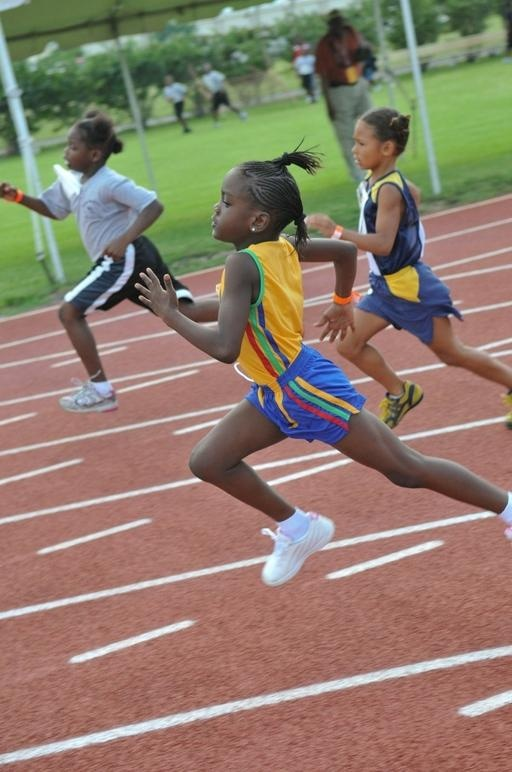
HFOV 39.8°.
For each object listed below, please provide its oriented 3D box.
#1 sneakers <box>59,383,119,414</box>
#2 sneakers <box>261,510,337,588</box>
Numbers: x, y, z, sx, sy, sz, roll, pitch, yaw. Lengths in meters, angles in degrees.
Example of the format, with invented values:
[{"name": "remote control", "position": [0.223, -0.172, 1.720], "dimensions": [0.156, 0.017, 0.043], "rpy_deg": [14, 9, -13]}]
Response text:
[{"name": "sneakers", "position": [-1.110, 0.048, 4.559], "dimensions": [0.425, 0.197, 0.148], "rpy_deg": [-4, 36, -10]}, {"name": "sneakers", "position": [0.157, 0.590, 2.536], "dimensions": [0.286, 0.177, 0.124], "rpy_deg": [-48, 49, 3]}]
